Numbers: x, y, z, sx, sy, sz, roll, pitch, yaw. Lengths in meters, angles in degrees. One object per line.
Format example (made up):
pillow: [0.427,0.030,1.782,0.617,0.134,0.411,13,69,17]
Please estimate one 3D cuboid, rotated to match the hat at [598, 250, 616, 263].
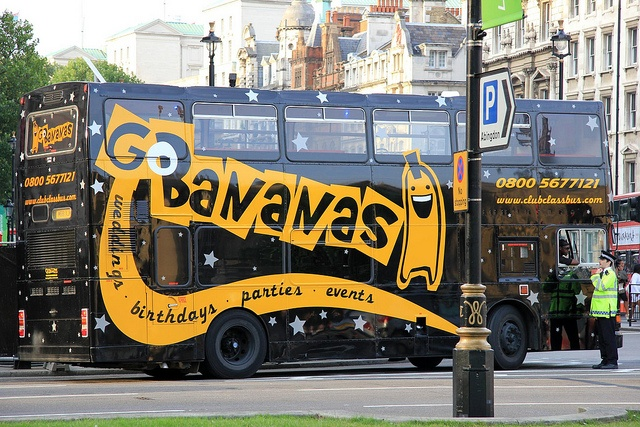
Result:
hat: [7.240,1.090,31.577,0.347,0.148,0.281,12,2,0]
